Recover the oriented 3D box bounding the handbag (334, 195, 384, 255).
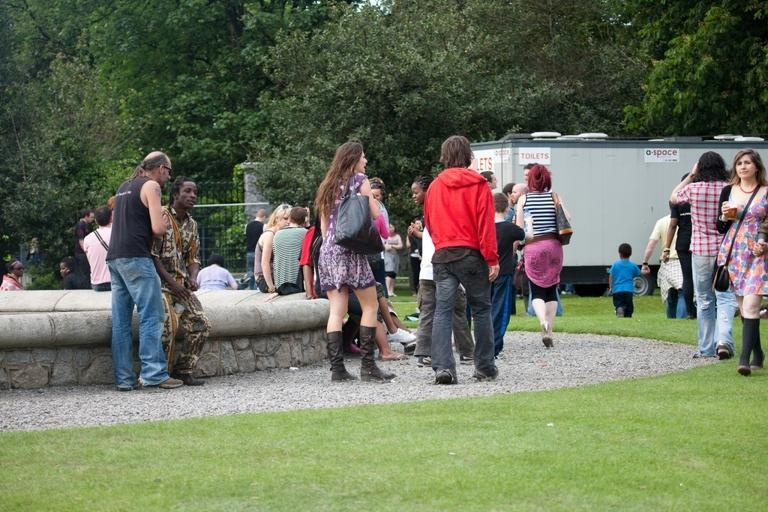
[{"bbox_3d":[-0.401,-0.435,17.463,0.780,1.018,0.429,4,-3,-15],"label":"handbag"}]

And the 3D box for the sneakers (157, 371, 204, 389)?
[{"bbox_3d":[-2.905,1.709,17.804,0.625,0.249,0.212,-3,4,-11],"label":"sneakers"}]

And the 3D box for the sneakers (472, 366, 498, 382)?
[{"bbox_3d":[1.405,1.623,17.590,0.370,0.185,0.150,4,5,34],"label":"sneakers"}]

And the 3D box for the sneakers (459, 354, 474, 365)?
[{"bbox_3d":[1.214,1.526,18.800,0.231,0.099,0.086,0,0,15],"label":"sneakers"}]

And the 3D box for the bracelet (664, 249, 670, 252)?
[{"bbox_3d":[4.495,-0.095,19.993,0.079,0.030,0.058,4,-2,-17],"label":"bracelet"}]

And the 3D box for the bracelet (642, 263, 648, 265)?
[{"bbox_3d":[4.602,0.128,22.255,0.075,0.023,0.076,-4,-4,35],"label":"bracelet"}]

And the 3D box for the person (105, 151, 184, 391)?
[{"bbox_3d":[-3.424,0.193,17.631,0.946,3.282,0.472,-3,0,-6],"label":"person"}]

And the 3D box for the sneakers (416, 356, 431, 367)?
[{"bbox_3d":[0.573,1.541,18.652,0.262,0.134,0.097,-2,7,-22],"label":"sneakers"}]

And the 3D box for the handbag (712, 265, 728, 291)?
[{"bbox_3d":[4.724,0.299,17.681,0.165,0.359,0.356,4,-1,20],"label":"handbag"}]

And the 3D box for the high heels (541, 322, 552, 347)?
[{"bbox_3d":[2.511,1.191,19.517,0.143,0.473,0.206,-2,27,4],"label":"high heels"}]

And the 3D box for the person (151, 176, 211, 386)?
[{"bbox_3d":[-3.001,0.407,18.035,0.916,2.843,0.841,1,-2,-20],"label":"person"}]

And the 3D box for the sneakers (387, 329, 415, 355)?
[{"bbox_3d":[0.311,1.288,19.750,0.611,0.261,0.210,4,-1,26],"label":"sneakers"}]
